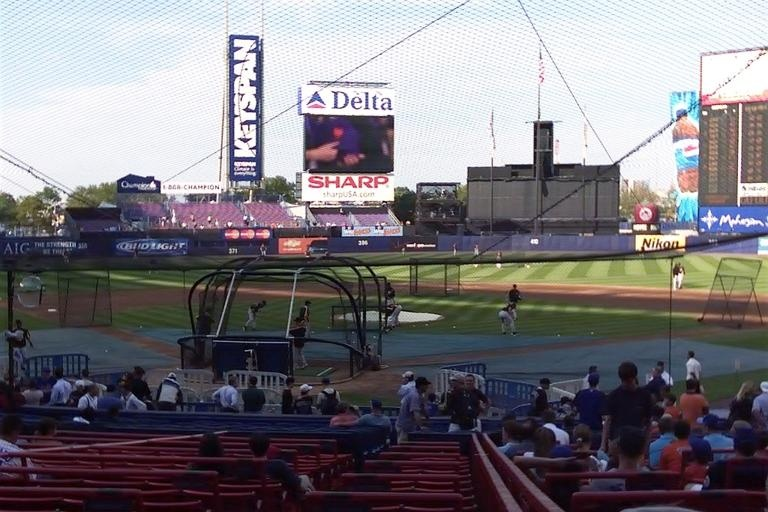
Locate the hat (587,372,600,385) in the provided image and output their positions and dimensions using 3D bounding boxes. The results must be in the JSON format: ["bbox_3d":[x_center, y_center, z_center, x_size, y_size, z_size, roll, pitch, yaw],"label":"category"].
[{"bbox_3d":[7.758,4.529,51.963,0.380,0.409,0.449,7,12,10],"label":"hat"}]

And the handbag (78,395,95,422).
[{"bbox_3d":[-11.019,5.716,52.684,0.540,0.749,0.871,-1,0,5],"label":"handbag"}]

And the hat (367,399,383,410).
[{"bbox_3d":[-0.230,5.577,52.534,0.511,0.500,0.592,1,4,-7],"label":"hat"}]

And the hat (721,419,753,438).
[{"bbox_3d":[12.443,5.992,49.558,0.783,0.815,0.902,-2,-18,9],"label":"hat"}]
